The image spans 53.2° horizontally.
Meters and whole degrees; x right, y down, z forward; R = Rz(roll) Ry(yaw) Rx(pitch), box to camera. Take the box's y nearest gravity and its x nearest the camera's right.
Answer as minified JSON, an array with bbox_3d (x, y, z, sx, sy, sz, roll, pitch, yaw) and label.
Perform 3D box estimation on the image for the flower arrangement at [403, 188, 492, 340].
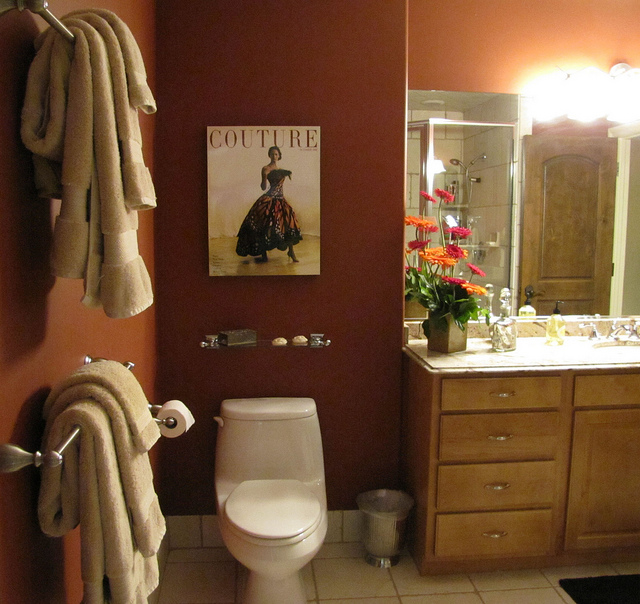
[{"bbox_3d":[0.511,-0.112,2.764,0.350,0.628,0.388,-7,-4,33],"label":"flower arrangement"}]

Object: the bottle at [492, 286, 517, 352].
[{"bbox_3d":[0.813,0.091,2.803,0.115,0.286,0.123,-5,-15,-1],"label":"bottle"}]

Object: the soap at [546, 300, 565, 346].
[{"bbox_3d":[1.097,0.095,2.969,0.080,0.179,0.186,3,12,21],"label":"soap"}]

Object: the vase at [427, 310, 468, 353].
[{"bbox_3d":[0.549,0.112,2.699,0.152,0.247,0.158,0,1,-26],"label":"vase"}]

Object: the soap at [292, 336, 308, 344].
[{"bbox_3d":[-0.087,0.159,2.679,0.055,0.023,0.046,-2,12,-7],"label":"soap"}]

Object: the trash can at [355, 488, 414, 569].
[{"bbox_3d":[0.260,0.932,2.680,0.245,0.283,0.257,1,-5,0],"label":"trash can"}]

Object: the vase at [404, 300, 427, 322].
[{"bbox_3d":[0.435,0.041,2.906,0.127,0.106,0.076,1,3,0],"label":"vase"}]
